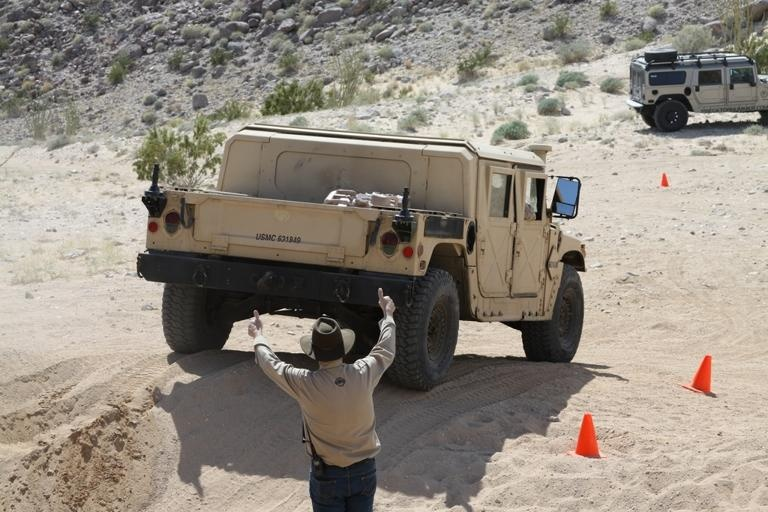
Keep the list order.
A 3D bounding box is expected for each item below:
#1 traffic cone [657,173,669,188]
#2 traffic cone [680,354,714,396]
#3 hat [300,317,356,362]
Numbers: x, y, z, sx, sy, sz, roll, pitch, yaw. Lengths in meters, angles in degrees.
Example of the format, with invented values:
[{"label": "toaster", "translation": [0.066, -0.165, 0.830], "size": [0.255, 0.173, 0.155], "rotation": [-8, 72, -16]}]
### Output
[{"label": "traffic cone", "translation": [8.720, -2.365, 23.247], "size": [0.262, 0.400, 1.028], "rotation": [1, 10, 21]}, {"label": "traffic cone", "translation": [4.998, 1.814, 11.650], "size": [0.583, 0.549, 0.563], "rotation": [5, 9, -36]}, {"label": "hat", "translation": [-0.575, 0.776, 7.543], "size": [0.583, 0.239, 0.606], "rotation": [-7, 24, -7]}]
